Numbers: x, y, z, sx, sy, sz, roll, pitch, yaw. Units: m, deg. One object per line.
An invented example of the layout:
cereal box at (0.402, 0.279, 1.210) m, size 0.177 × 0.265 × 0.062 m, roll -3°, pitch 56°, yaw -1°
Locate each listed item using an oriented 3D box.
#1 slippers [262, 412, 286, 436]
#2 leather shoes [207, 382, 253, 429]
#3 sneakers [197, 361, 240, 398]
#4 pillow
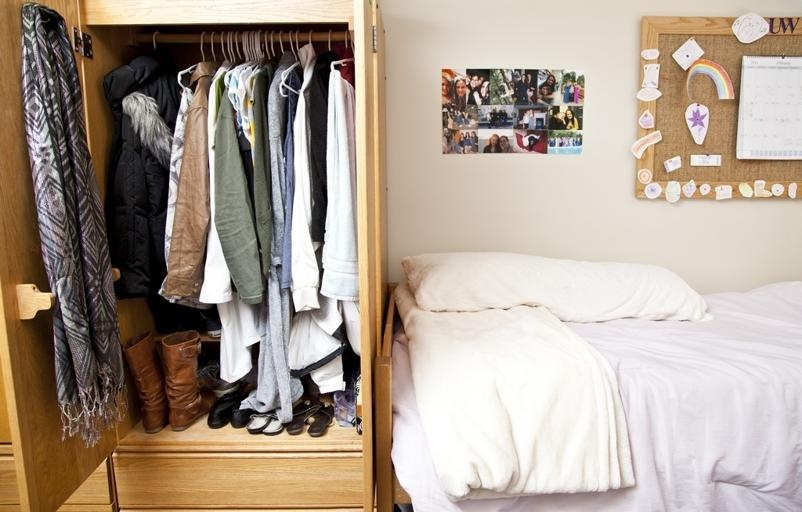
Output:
slippers at (-0.670, 0.893, 3.580) m, size 0.058 × 0.054 × 0.149 m, roll 1°, pitch 3°, yaw 1°
leather shoes at (-0.939, 0.817, 3.742) m, size 0.100 × 0.117 × 0.295 m, roll 8°, pitch 17°, yaw 8°
sneakers at (-0.978, 0.684, 3.769) m, size 0.301 × 0.127 × 0.103 m, roll 2°, pitch 16°, yaw -11°
pillow at (0.907, 0.167, 3.927) m, size 1.122 × 0.193 × 0.660 m, roll 1°, pitch 7°, yaw -5°
